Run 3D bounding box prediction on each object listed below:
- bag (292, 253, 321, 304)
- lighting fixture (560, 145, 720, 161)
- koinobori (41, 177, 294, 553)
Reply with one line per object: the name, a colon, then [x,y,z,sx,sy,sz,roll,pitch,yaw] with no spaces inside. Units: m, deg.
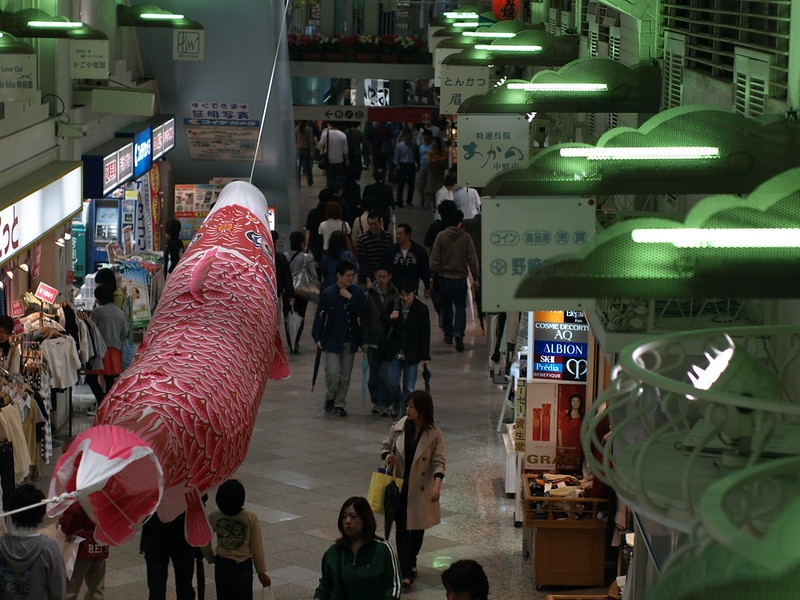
bag: [-1.713,-0.368,14.364,0.386,0.786,0.761,-8,-11,2]
lighting fixture: [1.627,-1.030,5.595,1.138,0.116,0.192,8,8,37]
koinobori: [-1.853,0.467,7.713,1.335,2.138,4.305,11,39,0]
